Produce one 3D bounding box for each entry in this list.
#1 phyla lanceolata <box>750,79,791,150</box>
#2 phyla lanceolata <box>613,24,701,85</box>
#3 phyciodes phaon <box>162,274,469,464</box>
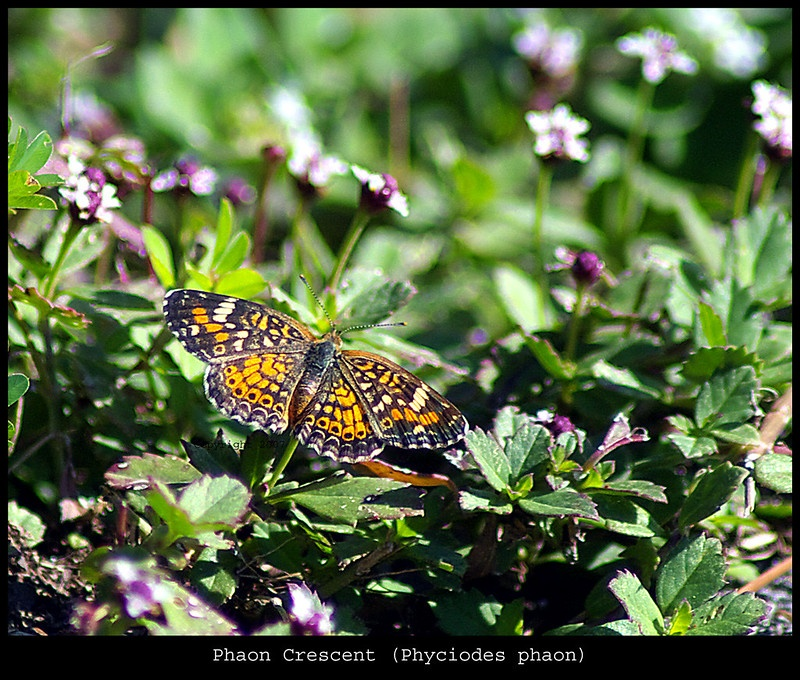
[{"bbox_3d":[0.882,-0.531,2.246,0.094,0.167,0.086,3,22,18],"label":"phyla lanceolata"},{"bbox_3d":[0.734,-0.810,2.680,0.213,0.023,0.210,23,61,5],"label":"phyla lanceolata"},{"bbox_3d":[-0.182,0.062,1.977,0.685,0.049,0.354,24,56,-4],"label":"phyciodes phaon"}]
